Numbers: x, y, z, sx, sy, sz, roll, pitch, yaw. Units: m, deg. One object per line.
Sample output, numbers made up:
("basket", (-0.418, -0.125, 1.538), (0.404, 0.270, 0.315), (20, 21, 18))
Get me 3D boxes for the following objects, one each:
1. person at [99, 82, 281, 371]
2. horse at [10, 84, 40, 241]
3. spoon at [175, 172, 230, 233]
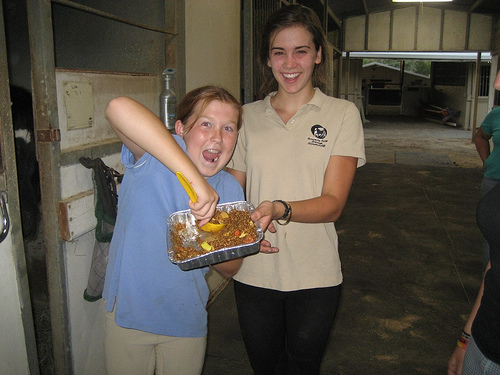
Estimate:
("person", (-0.360, 0.207, 1.598), (0.578, 1.304, 0.542), (3, 12, 12))
("horse", (-1.869, -0.190, 2.987), (0.158, 1.285, 0.187), (-6, 13, -29))
("spoon", (-0.210, 0.016, 1.244), (0.136, 0.049, 0.263), (-18, 40, -26))
